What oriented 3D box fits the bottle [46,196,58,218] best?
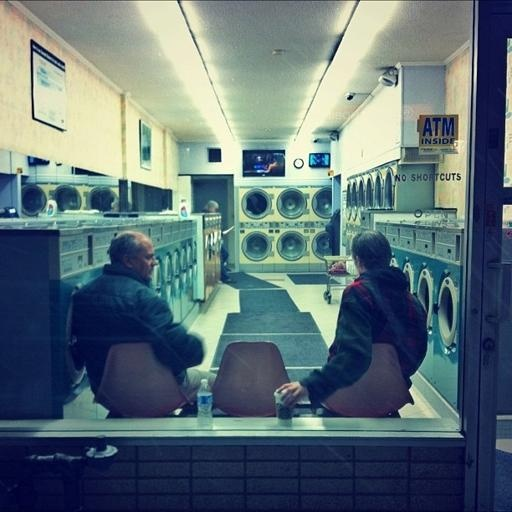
[{"bbox_3d":[-1.752,-0.405,4.260,0.094,0.217,0.124,0,-4,-3],"label":"bottle"}]

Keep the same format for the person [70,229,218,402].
[{"bbox_3d":[-0.434,0.190,2.150,0.647,0.968,0.476,0,0,-45],"label":"person"}]

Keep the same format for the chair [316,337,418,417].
[{"bbox_3d":[0.472,0.465,2.081,0.336,0.336,0.271,-8,7,-8],"label":"chair"}]

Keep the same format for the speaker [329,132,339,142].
[{"bbox_3d":[0.625,-0.966,3.985,0.088,0.051,0.130,-1,-2,2],"label":"speaker"}]

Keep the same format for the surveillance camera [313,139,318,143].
[{"bbox_3d":[0.599,-1.149,4.982,0.033,0.045,0.039,-2,18,8],"label":"surveillance camera"}]

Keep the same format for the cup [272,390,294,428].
[{"bbox_3d":[0.083,0.589,1.914,0.093,0.146,0.102,-1,-6,0],"label":"cup"}]

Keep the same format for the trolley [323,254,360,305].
[{"bbox_3d":[0.594,0.161,3.682,0.241,0.468,0.444,1,9,0],"label":"trolley"}]

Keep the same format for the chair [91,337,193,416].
[{"bbox_3d":[-0.459,0.454,2.009,0.290,0.383,0.280,0,0,0],"label":"chair"}]
